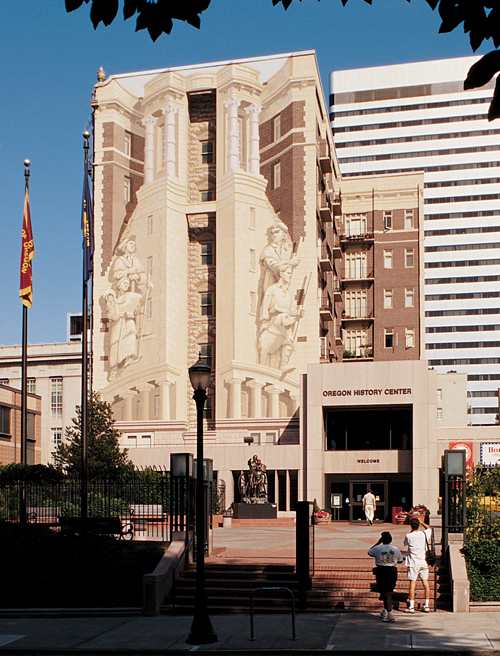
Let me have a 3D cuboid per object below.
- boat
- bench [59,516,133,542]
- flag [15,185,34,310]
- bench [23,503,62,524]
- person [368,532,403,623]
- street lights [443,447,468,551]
[{"bbox_3d":[-1.149,3.865,34.806,0.810,6.134,0.886,-1,-8,1],"label":"boat"},{"bbox_3d":[-4.529,5.686,44.155,2.602,0.742,1.089,-10,-13,42],"label":"bench"},{"bbox_3d":[-8.907,-3.141,61.800,0.453,4.772,0.794,1,-8,-10],"label":"flag"},{"bbox_3d":[-6.877,6.163,51.183,1.048,0.651,4.150,-1,-10,0],"label":"bench"},{"bbox_3d":[3.152,5.752,35.808,0.749,2.010,0.734,0,-8,2],"label":"person"},{"bbox_3d":[5.266,4.394,40.024,0.419,2.466,0.816,-3,-10,17],"label":"street lights"}]
